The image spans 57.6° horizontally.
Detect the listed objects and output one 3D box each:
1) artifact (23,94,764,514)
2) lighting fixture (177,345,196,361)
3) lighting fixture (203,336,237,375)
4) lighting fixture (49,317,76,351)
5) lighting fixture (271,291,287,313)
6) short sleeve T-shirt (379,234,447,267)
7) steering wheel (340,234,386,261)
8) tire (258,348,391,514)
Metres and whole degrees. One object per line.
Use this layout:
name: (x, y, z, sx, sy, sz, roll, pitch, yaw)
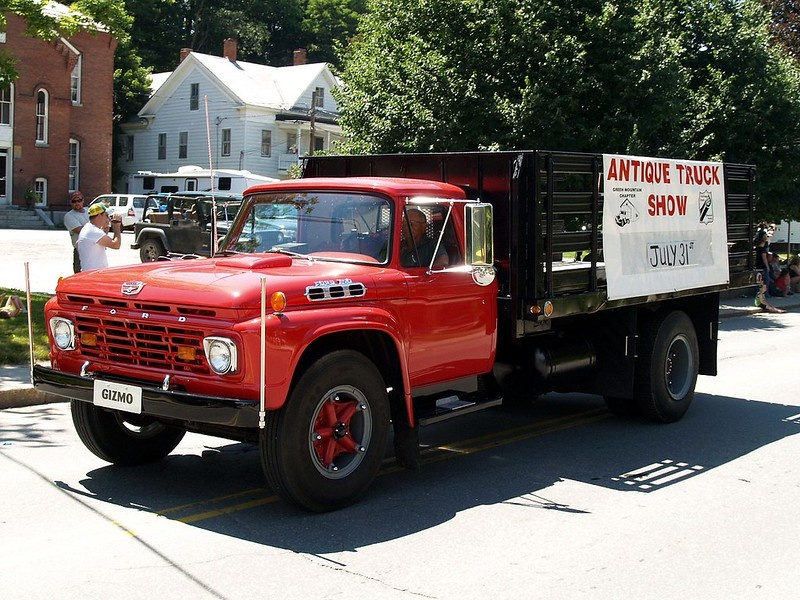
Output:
artifact: (0.787, -0.002, 8.090, 3.395, 3.097, 7.666, 2, 3, 43)
lighting fixture: (-1.653, 0.419, 5.637, 0.182, 0.127, 0.030, 6, 8, 34)
lighting fixture: (-1.350, 0.414, 5.450, 0.222, 0.314, 0.117, 5, 11, 23)
lighting fixture: (-2.941, 0.283, 6.338, 0.223, 0.319, 0.120, 2, 5, 34)
lighting fixture: (-0.917, 0.021, 5.458, 0.128, 0.174, 0.073, 7, -1, -5)
short sleeve T-shirt: (0.144, -0.445, 6.678, 0.719, 0.285, 0.168, -3, 8, -38)
steering wheel: (-0.311, -0.474, 6.566, 0.421, 0.239, 0.114, 4, 7, 19)
tire: (-0.626, 1.040, 5.810, 0.358, 0.979, 0.919, 8, -36, 40)
